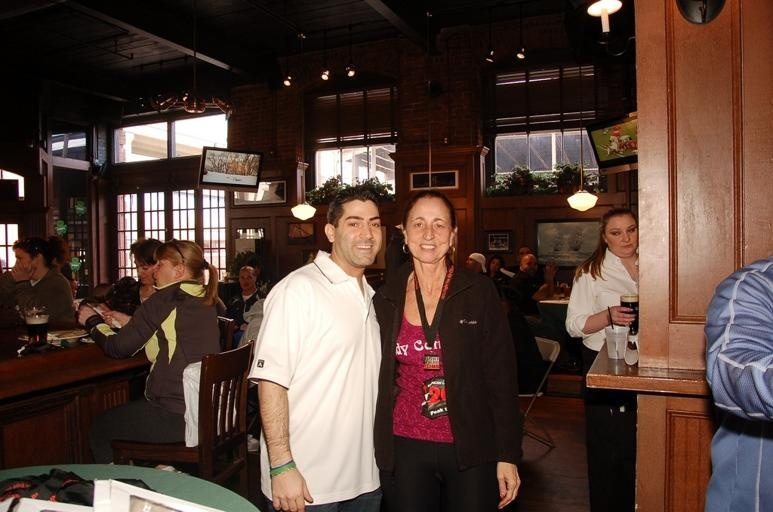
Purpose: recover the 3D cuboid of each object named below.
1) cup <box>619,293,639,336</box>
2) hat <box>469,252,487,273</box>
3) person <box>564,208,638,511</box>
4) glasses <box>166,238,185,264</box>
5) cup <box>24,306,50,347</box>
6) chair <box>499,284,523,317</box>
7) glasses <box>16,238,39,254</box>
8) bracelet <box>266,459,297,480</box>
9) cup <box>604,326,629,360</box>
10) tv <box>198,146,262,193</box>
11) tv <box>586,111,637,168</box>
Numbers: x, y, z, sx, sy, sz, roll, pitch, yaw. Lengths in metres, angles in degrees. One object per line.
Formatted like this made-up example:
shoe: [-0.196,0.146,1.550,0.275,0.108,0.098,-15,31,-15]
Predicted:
cup: [1.367,0.330,3.282,0.085,0.211,0.143,-3,2,19]
hat: [1.197,0.082,7.663,0.282,0.205,0.207,28,-13,-16]
person: [1.425,0.705,3.842,0.471,2.047,0.810,-2,3,23]
glasses: [-1.537,-0.046,4.292,0.053,0.166,0.131,-3,-6,-14]
cup: [-2.493,0.501,4.180,0.123,0.255,0.226,-5,3,-32]
chair: [1.215,0.426,5.671,0.132,0.144,0.465,10,14,26]
glasses: [-3.464,-0.112,5.705,0.171,0.199,0.210,1,2,5]
bracelet: [-0.503,1.034,2.834,0.094,0.037,0.086,-9,-7,2]
cup: [1.279,0.482,3.251,0.167,0.189,0.166,-1,-2,0]
tv: [-2.452,-1.395,9.258,1.042,0.708,0.104,3,10,-26]
tv: [2.536,-1.257,6.398,0.284,0.510,0.627,-4,2,-23]
